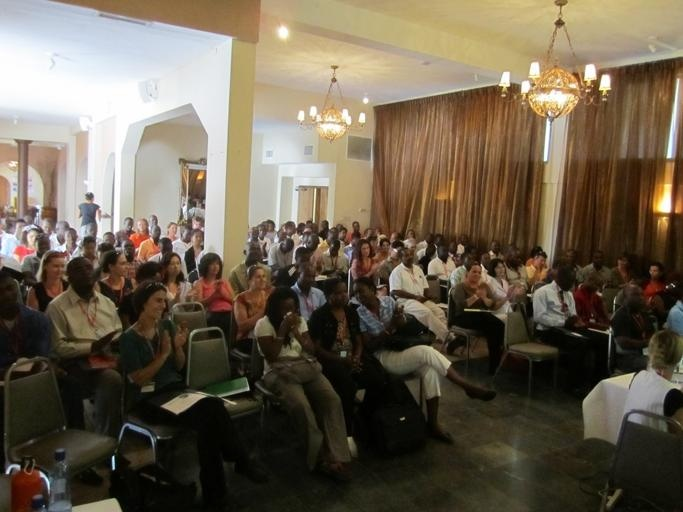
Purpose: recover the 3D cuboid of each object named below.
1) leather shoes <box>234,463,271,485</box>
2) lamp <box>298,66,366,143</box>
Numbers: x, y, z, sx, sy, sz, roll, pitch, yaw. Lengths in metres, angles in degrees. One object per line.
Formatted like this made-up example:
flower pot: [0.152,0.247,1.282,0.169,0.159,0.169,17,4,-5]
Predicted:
leather shoes: [-0.678,1.617,3.885,0.240,0.193,0.062,1,11,-12]
lamp: [-0.453,-3.252,11.706,1.488,1.911,1.577,1,-2,19]
